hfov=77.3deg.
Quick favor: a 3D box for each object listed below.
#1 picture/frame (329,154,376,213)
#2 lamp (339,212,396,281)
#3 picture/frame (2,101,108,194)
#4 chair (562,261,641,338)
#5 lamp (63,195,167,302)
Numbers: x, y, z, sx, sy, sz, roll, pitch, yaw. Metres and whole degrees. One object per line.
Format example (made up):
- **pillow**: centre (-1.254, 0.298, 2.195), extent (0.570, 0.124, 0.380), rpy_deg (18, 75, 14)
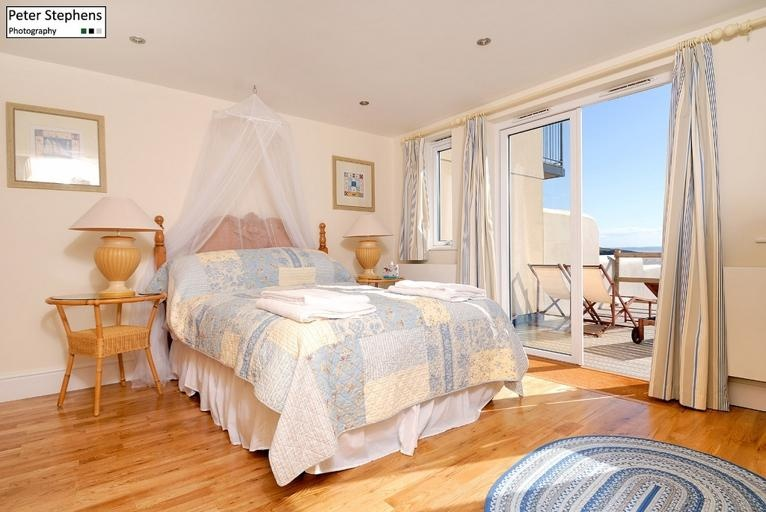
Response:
- **picture/frame**: centre (-0.426, -0.929, 6.121), extent (0.804, 0.907, 0.034), rpy_deg (-1, 3, -34)
- **lamp**: centre (-0.179, -0.094, 5.904), extent (0.543, 0.793, 0.555), rpy_deg (-1, -4, -23)
- **picture/frame**: centre (-3.095, -1.009, 4.449), extent (0.957, 0.933, 0.062), rpy_deg (-1, -1, -31)
- **chair**: centre (2.893, 0.533, 6.200), extent (0.928, 0.854, 0.606), rpy_deg (-7, -2, -11)
- **lamp**: centre (-2.457, -0.084, 4.441), extent (0.753, 0.866, 0.750), rpy_deg (0, -4, -20)
